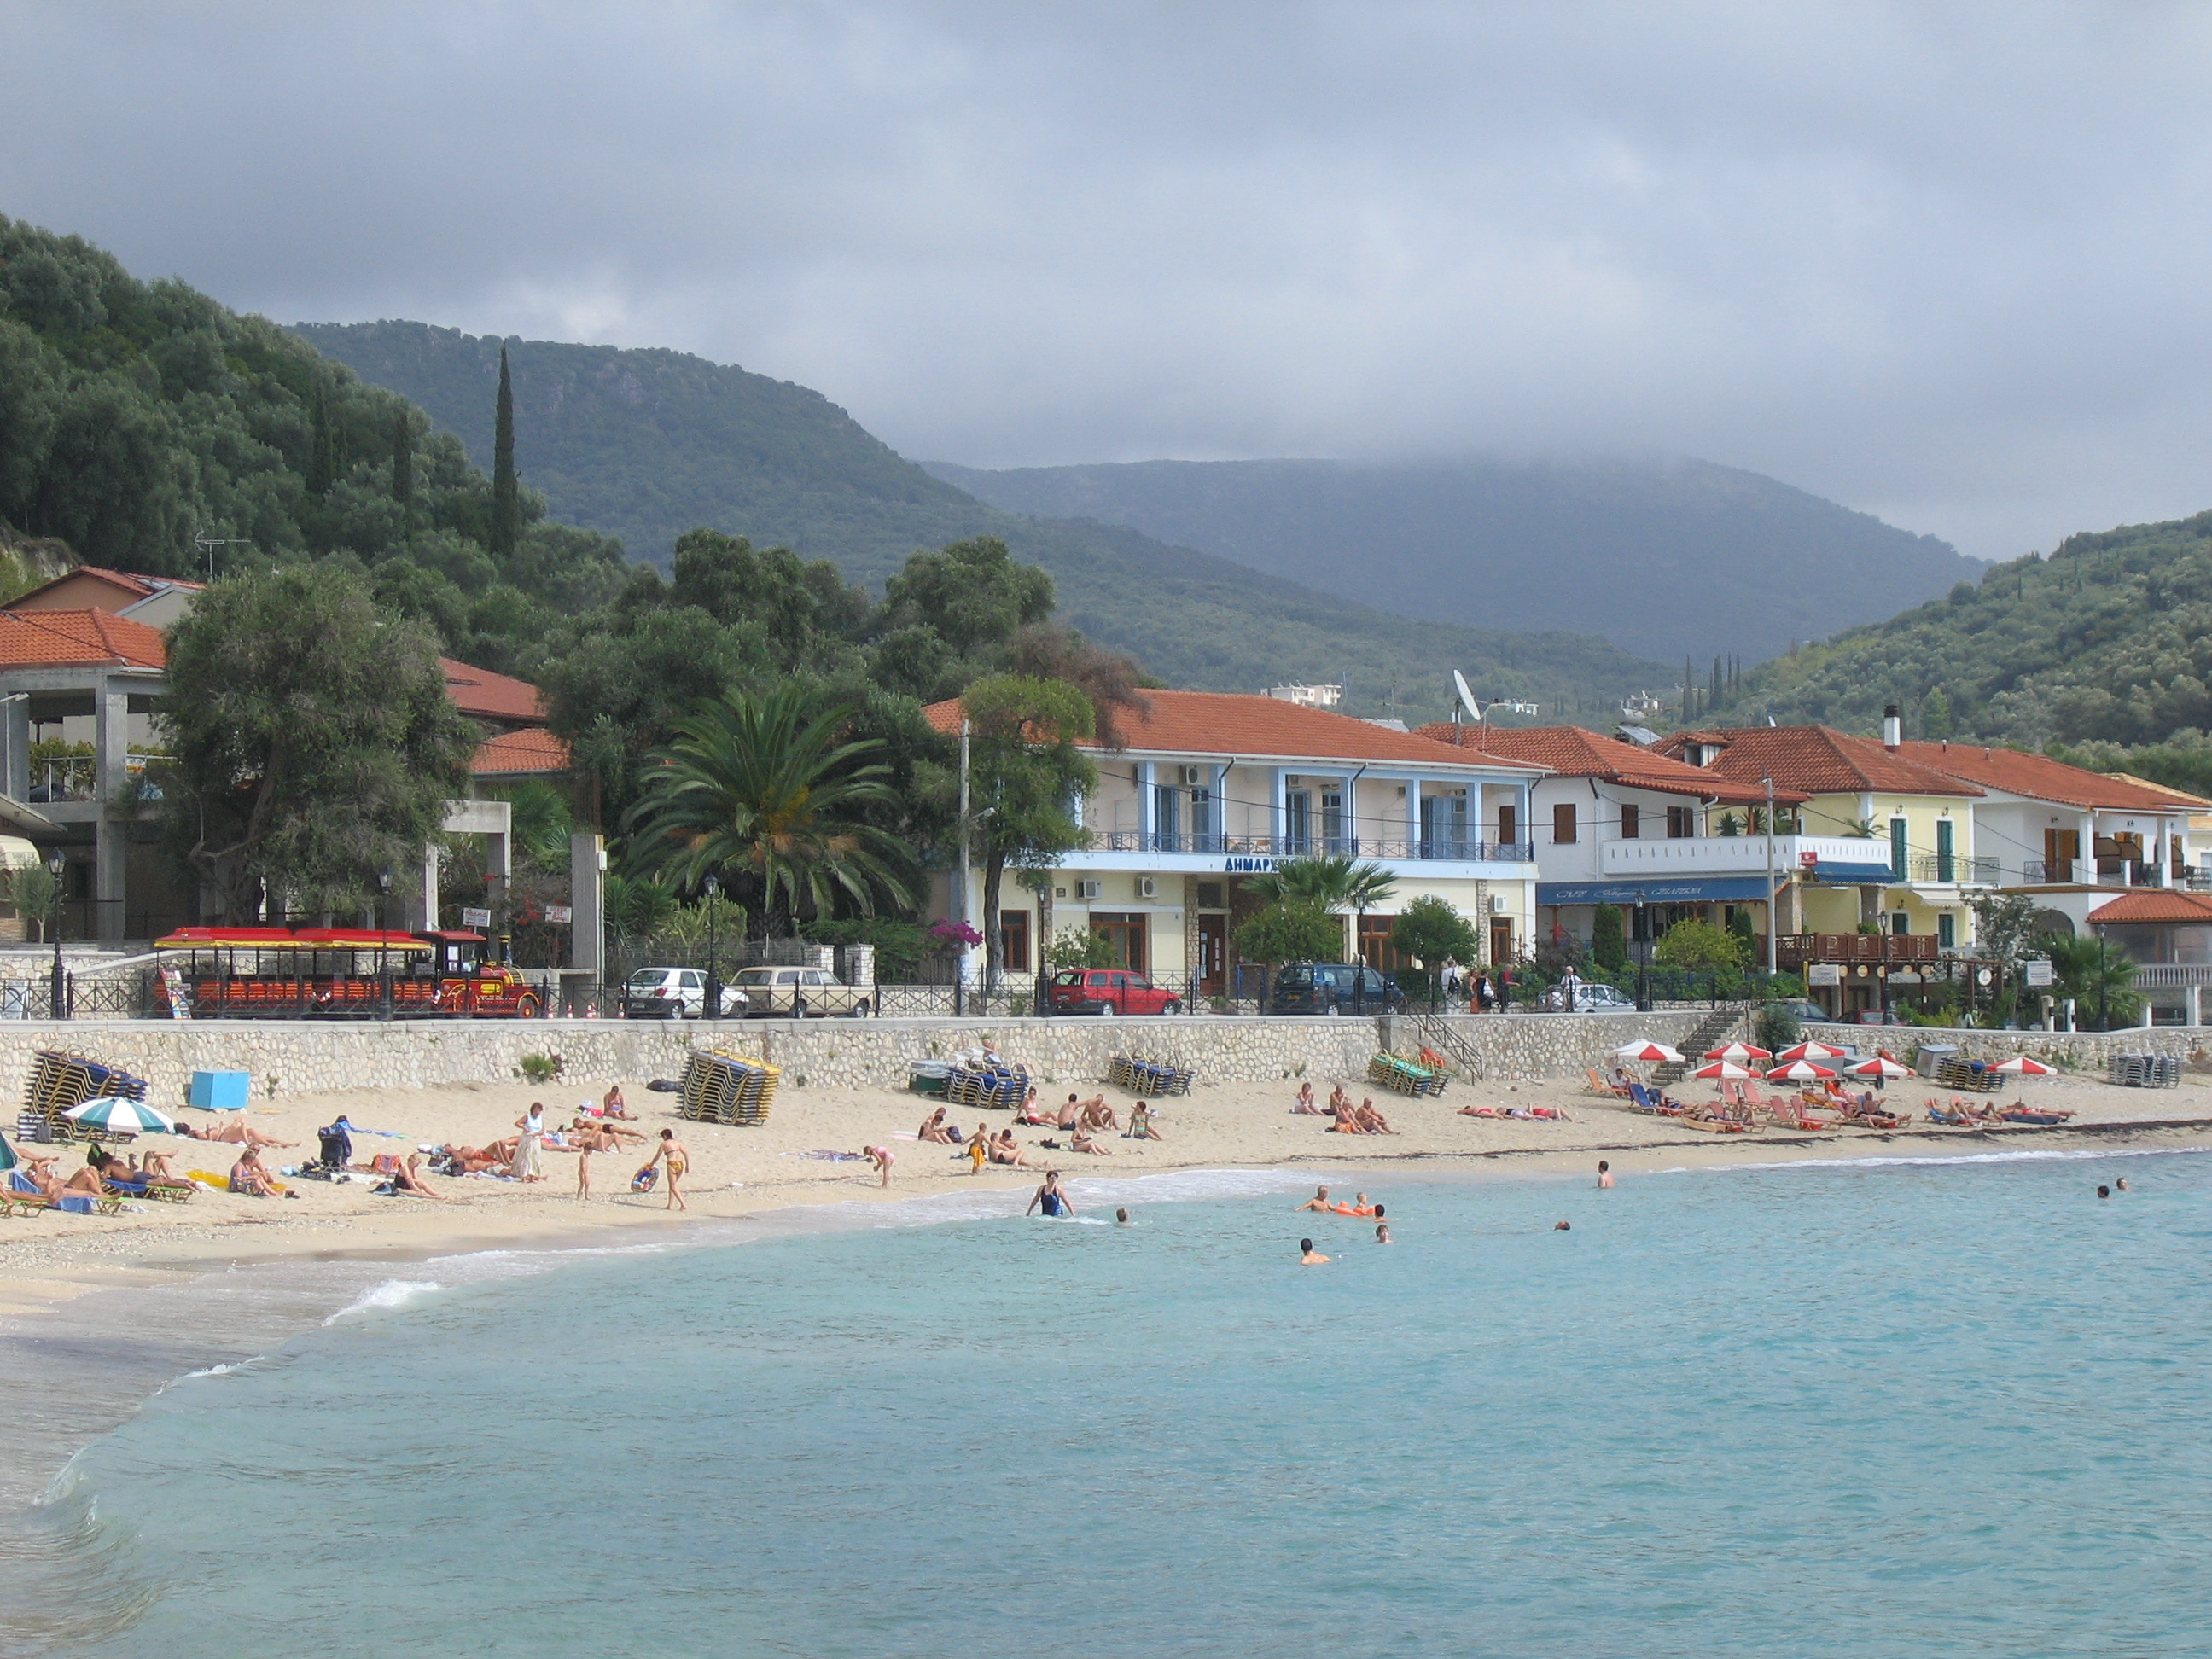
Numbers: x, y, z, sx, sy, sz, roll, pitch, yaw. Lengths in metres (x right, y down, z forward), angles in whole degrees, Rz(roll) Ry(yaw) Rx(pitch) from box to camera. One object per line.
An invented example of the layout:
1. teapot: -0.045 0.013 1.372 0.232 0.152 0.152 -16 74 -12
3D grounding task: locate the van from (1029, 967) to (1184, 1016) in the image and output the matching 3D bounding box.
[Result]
1. van: 0.104 4.936 125.973 3.051 1.020 1.731 -3 4 -23

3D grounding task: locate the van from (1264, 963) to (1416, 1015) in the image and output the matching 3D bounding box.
1. van: 7.001 4.956 128.897 2.924 1.176 1.952 -1 -1 0

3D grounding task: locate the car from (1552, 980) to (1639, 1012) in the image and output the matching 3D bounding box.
1. car: 15.384 5.397 133.184 2.168 0.814 1.130 -4 5 -30

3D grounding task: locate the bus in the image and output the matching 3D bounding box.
1. bus: -20.391 3.771 111.671 10.248 2.519 3.064 3 -5 -36
